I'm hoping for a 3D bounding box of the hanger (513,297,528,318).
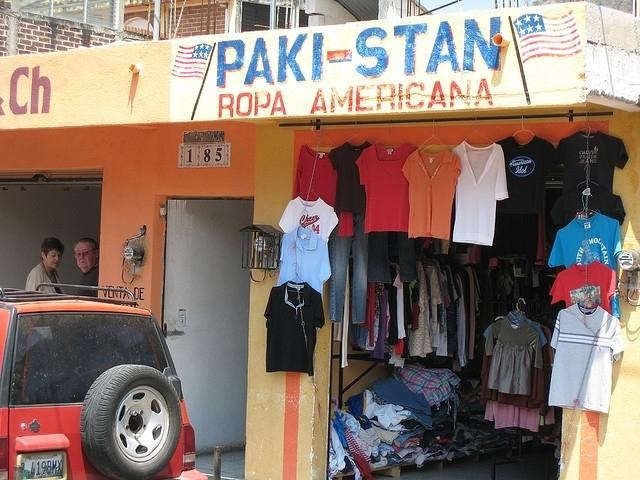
[{"bbox_3d":[2.468,0.830,9.877,0.093,0.244,0.242,-3,-3,19],"label":"hanger"}]

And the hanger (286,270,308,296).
[{"bbox_3d":[-0.238,0.470,8.774,0.237,0.308,0.017,-2,-10,12],"label":"hanger"}]
